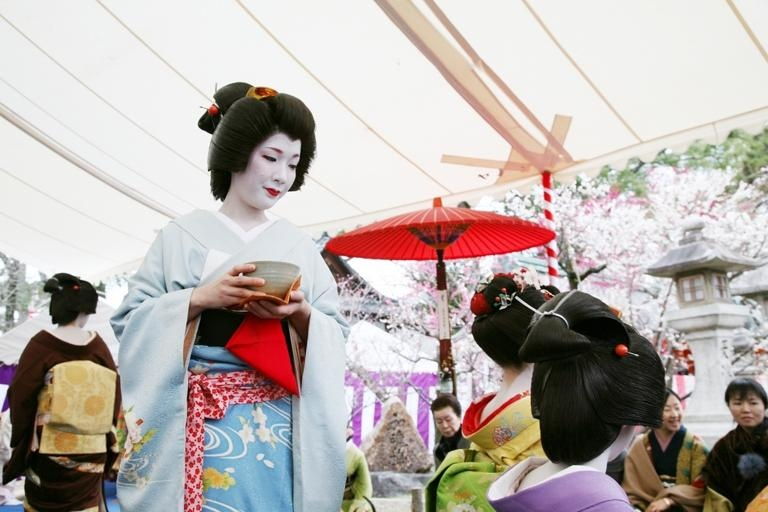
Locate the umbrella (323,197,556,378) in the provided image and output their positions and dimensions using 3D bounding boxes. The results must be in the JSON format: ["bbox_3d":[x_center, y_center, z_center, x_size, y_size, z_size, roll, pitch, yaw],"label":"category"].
[{"bbox_3d":[0.428,0.115,5.881,2.094,1.655,1.955,3,-27,-20],"label":"umbrella"}]

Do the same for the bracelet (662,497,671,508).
[{"bbox_3d":[2.500,2.187,5.054,0.065,0.020,0.059,10,-49,24],"label":"bracelet"}]

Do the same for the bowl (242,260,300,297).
[{"bbox_3d":[-0.576,0.118,3.026,0.221,0.130,0.208,0,-17,0],"label":"bowl"}]
